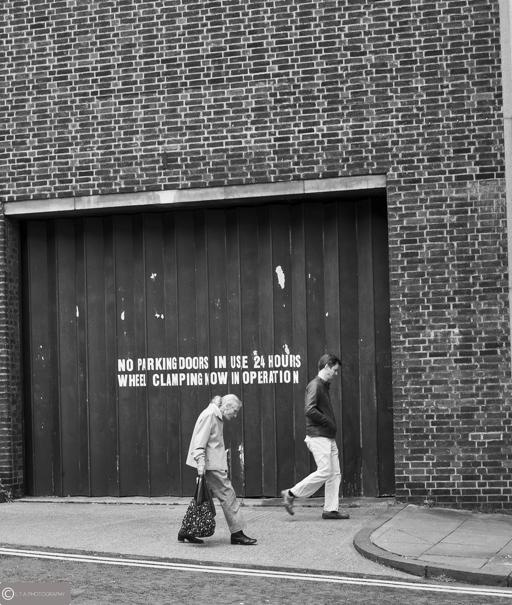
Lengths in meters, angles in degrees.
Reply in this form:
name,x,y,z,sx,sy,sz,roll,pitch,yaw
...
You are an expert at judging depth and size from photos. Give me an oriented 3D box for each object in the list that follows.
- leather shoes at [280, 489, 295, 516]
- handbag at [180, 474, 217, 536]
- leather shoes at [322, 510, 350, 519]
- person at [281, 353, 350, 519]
name,x,y,z,sx,sy,sz,roll,pitch,yaw
leather shoes,0.356,2.144,13.276,0.129,0.391,0.114,-9,-9,1
handbag,-0.520,1.936,11.736,0.293,0.770,0.304,-8,-28,18
leather shoes,0.853,2.291,13.223,0.256,0.147,0.112,0,0,-1
person,0.655,1.470,13.386,0.627,1.772,0.390,-3,-3,1
